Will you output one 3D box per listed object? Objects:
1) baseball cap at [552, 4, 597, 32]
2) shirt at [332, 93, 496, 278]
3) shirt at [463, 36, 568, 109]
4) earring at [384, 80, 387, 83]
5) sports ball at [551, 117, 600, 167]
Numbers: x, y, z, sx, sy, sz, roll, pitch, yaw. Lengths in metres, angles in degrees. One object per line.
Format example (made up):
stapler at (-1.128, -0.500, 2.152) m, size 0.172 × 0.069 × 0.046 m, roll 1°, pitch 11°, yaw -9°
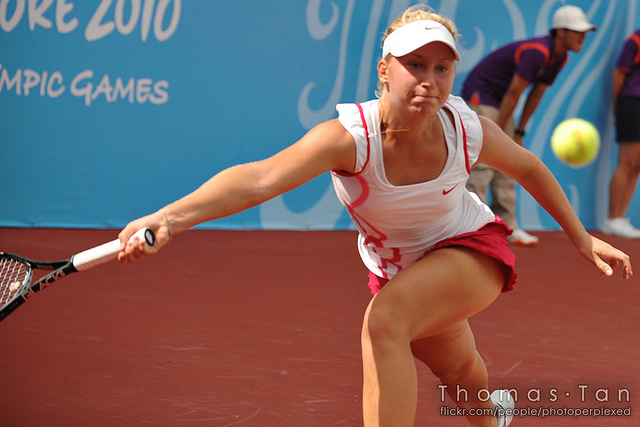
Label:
baseball cap at (2.728, -2.068, 6.443) m, size 0.410 × 0.248 × 0.304 m, roll 9°, pitch 19°, yaw 35°
shirt at (0.544, -0.198, 3.444) m, size 0.813 × 0.983 × 0.506 m, roll -11°, pitch 32°, yaw 2°
shirt at (2.151, -1.652, 6.814) m, size 0.751 × 0.987 × 0.808 m, roll 21°, pitch 29°, yaw 1°
earring at (0.355, -0.722, 3.263) m, size 0.004 × 0.013 × 0.025 m, roll -11°, pitch 15°, yaw -25°
sports ball at (2.084, -0.553, 4.916) m, size 0.402 × 0.416 × 0.475 m, roll 2°, pitch 3°, yaw 22°
